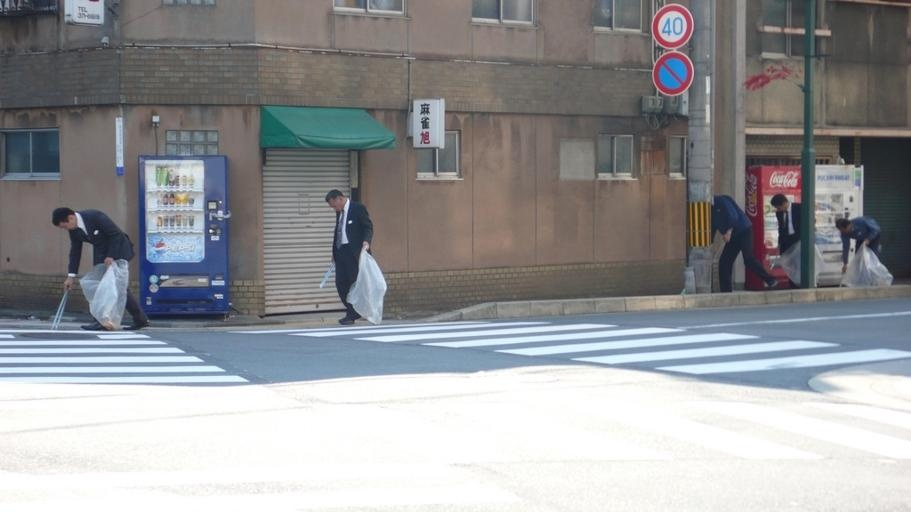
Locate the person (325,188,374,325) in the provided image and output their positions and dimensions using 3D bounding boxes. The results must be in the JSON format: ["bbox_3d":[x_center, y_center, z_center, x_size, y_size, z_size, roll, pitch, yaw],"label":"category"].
[{"bbox_3d":[-2.398,0.031,31.865,0.972,3.074,0.905,-1,3,-3],"label":"person"}]

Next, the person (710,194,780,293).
[{"bbox_3d":[7.236,-0.339,35.838,1.514,2.441,0.824,-3,3,-32],"label":"person"}]
